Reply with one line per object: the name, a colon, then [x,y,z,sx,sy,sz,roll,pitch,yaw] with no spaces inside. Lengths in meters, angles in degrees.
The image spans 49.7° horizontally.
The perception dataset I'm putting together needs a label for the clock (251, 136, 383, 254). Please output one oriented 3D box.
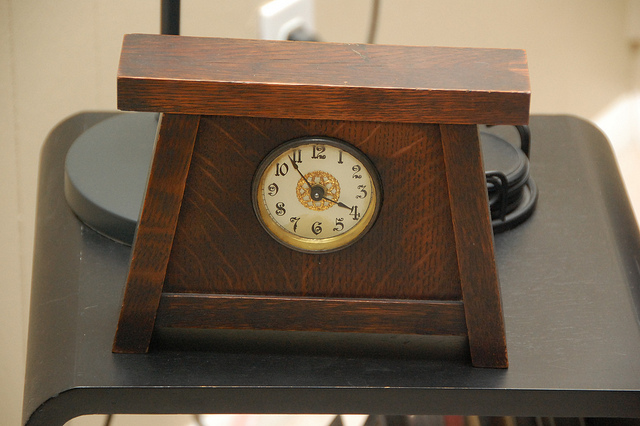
clock: [-0.005,-0.032,0.981,0.148,0.016,0.161,-1,96,4]
